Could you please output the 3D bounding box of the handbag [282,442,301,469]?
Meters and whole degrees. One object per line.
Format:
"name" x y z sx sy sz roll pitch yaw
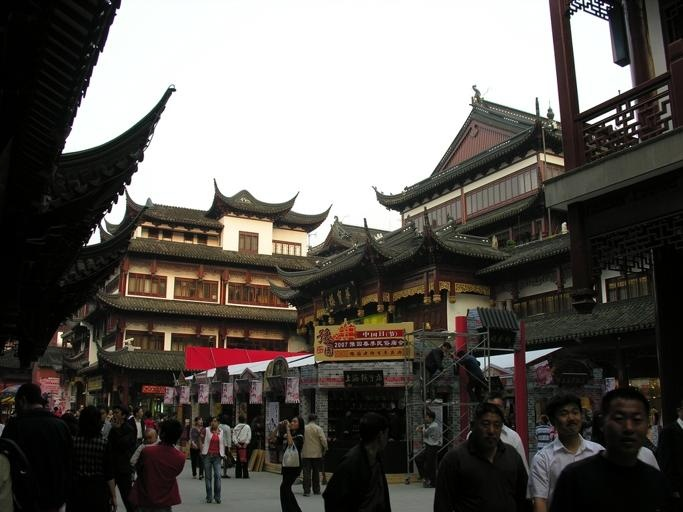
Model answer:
"handbag" -0.951 3.746 14.454 0.368 0.620 0.293 -2 -2 29

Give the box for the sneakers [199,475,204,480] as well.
"sneakers" -3.609 5.757 19.935 0.072 0.103 0.132 7 -16 -19

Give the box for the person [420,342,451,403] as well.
"person" 2.316 2.861 19.088 0.725 0.637 1.624 -15 -34 -5
